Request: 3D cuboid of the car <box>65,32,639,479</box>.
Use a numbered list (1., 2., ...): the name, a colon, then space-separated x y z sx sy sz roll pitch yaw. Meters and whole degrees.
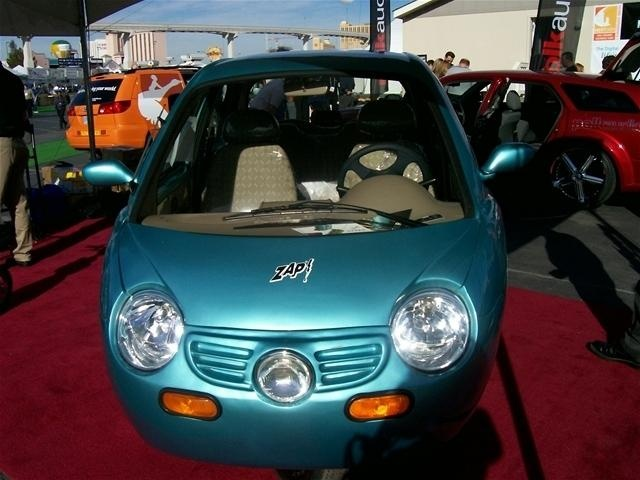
1. car: -0.064 -0.092 2.594 2.083 1.920 2.356 -4 20 -14
